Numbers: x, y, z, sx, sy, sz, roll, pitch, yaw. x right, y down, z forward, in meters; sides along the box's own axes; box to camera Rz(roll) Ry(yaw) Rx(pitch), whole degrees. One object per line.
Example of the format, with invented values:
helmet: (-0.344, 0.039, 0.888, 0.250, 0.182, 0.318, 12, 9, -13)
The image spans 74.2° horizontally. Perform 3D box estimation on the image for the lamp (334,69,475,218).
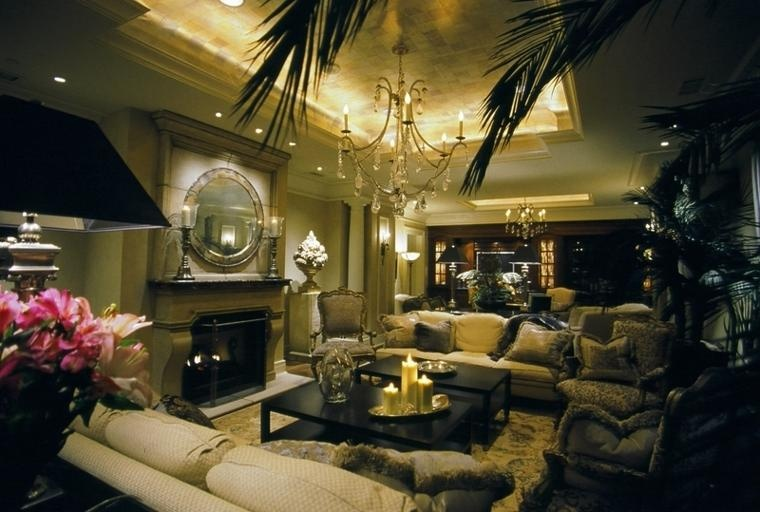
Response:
lamp: (0.170, -1.081, 4.152, 1.122, 1.275, 1.066, -2, -3, 31)

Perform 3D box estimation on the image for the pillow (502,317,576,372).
pillow: (1.433, 0.743, 4.517, 0.533, 0.155, 0.562, 11, 46, 41)

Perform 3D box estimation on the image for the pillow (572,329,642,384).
pillow: (1.422, 0.643, 3.137, 0.126, 0.286, 0.351, 29, -23, -25)

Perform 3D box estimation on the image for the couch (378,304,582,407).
couch: (0.910, 0.932, 4.937, 1.915, 0.662, 0.624, 2, 5, 26)

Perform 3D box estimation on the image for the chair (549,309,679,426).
chair: (1.443, 0.739, 3.071, 0.588, 0.679, 0.609, 5, 7, 41)

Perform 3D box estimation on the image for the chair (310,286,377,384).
chair: (-0.438, 0.882, 5.464, 0.719, 0.950, 0.608, -1, 7, -5)

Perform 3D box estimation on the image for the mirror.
mirror: (-1.435, -0.343, 4.644, 1.007, 0.920, 0.047, 8, 8, 23)

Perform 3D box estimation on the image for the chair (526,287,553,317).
chair: (2.249, 0.640, 7.061, 0.351, 0.326, 0.343, 6, 3, 36)

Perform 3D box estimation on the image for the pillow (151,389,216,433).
pillow: (-0.847, 0.652, 2.129, 0.257, 0.065, 0.165, 24, 3, 23)

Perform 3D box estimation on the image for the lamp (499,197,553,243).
lamp: (2.376, -0.728, 8.221, 0.675, 0.922, 0.677, 0, -2, -43)

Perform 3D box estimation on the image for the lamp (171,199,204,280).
lamp: (-1.642, -0.158, 4.223, 0.200, 0.740, 0.402, 2, -4, -21)
